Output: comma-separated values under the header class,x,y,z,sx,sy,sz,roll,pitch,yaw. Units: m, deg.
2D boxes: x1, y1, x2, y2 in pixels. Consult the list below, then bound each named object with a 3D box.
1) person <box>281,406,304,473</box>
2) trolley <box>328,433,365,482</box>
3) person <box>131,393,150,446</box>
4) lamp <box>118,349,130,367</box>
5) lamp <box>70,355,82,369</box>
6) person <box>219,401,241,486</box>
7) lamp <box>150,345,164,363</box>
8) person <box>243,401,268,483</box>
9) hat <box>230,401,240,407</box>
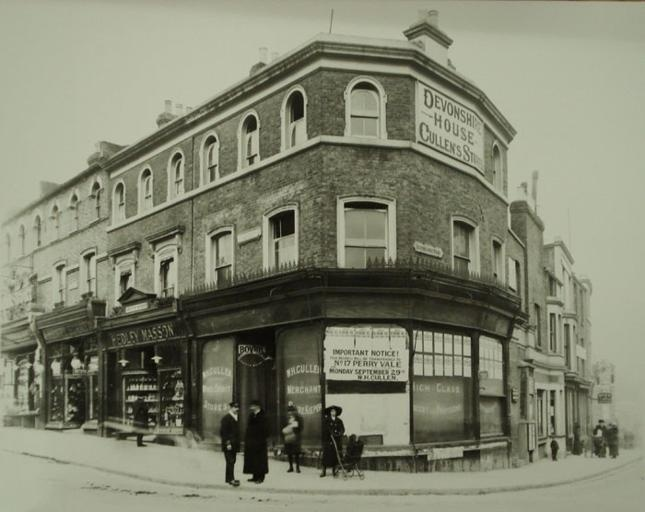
class,x,y,z,sx,sy,sz,roll,pitch,yaw
person,-0.826,5.176,33.974,0.543,1.798,1.377,0,-1,-1
trolley,0.731,5.490,32.934,0.626,1.245,0.823,3,-1,-33
person,-5.838,5.291,38.529,0.488,1.385,2.339,0,-2,-9
lamp,-6.693,3.441,40.245,0.486,0.611,0.161,-1,-1,40
lamp,-8.490,3.676,41.226,0.444,0.445,0.198,-1,-1,34
person,-2.466,5.071,32.254,0.489,2.211,0.963,0,-1,-4
lamp,-5.439,3.247,39.332,0.501,0.801,0.541,-2,-5,2
person,-1.801,5.039,32.318,0.648,2.158,0.413,0,0,-4
hat,-2.449,4.056,32.584,0.244,0.206,0.259,-2,-4,24
